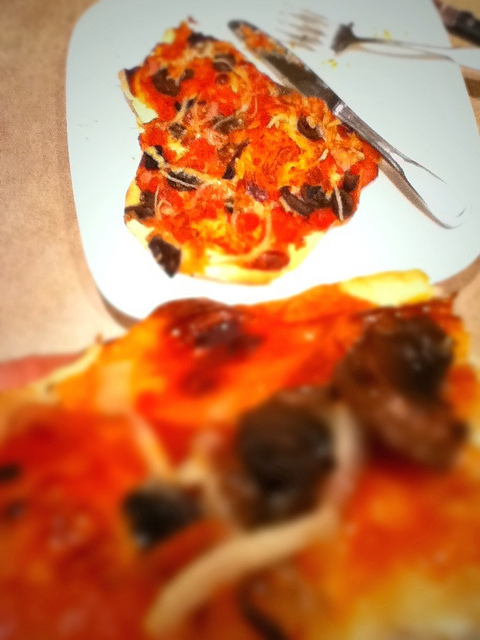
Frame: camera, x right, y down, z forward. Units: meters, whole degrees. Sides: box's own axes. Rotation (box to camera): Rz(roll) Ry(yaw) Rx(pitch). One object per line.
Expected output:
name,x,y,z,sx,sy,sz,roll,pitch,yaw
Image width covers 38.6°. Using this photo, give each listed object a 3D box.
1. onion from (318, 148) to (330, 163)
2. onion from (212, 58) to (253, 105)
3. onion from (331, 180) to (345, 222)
onion,0.578,-1.159,4.824,0.018,0.061,0.059,19,40,-32
onion,-0.057,-1.647,4.672,0.249,0.067,0.174,42,87,-14
onion,0.683,-0.830,4.837,0.060,0.032,0.295,-12,95,-18
